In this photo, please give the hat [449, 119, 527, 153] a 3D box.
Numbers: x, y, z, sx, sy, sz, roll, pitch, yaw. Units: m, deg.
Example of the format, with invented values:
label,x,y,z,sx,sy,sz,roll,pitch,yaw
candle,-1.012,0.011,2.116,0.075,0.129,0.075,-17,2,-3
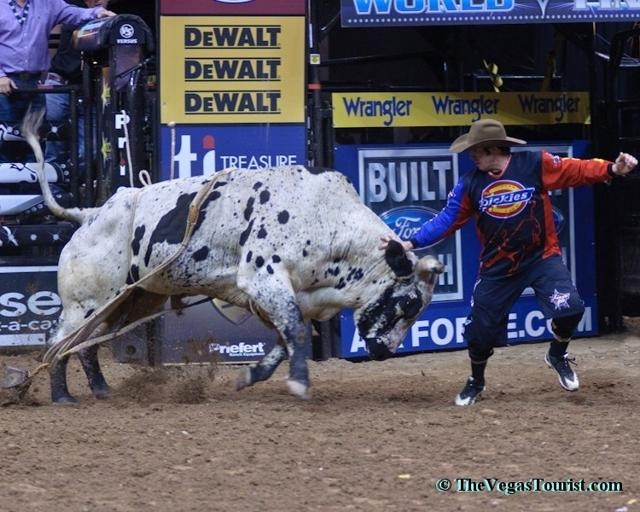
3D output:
label,x,y,z,sx,sy,sz,roll,pitch,yaw
hat,1.370,-0.941,9.739,0.504,0.140,0.322,-5,15,-10
